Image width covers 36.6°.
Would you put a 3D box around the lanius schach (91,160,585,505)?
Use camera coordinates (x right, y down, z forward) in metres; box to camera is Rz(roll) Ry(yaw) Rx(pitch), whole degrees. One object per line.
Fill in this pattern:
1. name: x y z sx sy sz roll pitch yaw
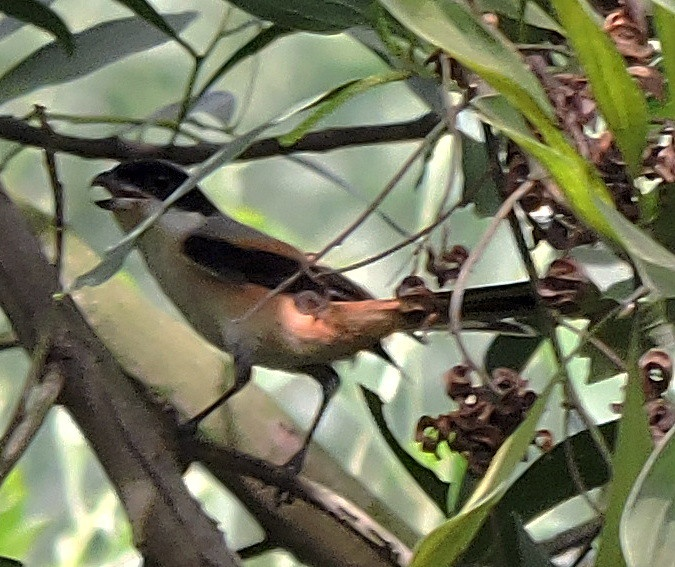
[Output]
1. lanius schach: -0.012 0.016 0.626 0.297 0.148 0.086 9 -14 0
